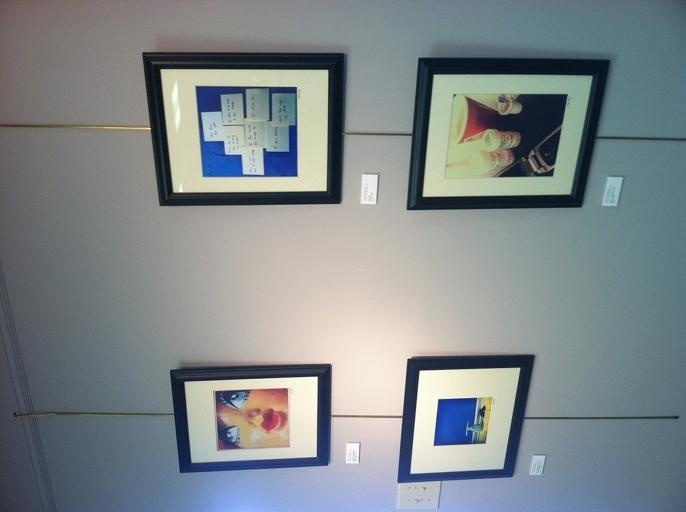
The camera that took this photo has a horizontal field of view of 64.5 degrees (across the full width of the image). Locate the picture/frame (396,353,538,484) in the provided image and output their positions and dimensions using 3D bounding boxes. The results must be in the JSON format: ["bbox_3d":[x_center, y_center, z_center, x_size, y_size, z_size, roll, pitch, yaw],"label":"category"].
[{"bbox_3d":[0.554,0.718,2.499,0.582,0.648,0.044,-1,18,-7],"label":"picture/frame"}]

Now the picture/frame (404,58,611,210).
[{"bbox_3d":[0.646,-0.525,2.219,0.539,0.430,0.028,1,10,-9],"label":"picture/frame"}]

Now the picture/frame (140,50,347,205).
[{"bbox_3d":[-0.415,-0.538,2.165,0.553,0.460,0.027,-1,19,0],"label":"picture/frame"}]
